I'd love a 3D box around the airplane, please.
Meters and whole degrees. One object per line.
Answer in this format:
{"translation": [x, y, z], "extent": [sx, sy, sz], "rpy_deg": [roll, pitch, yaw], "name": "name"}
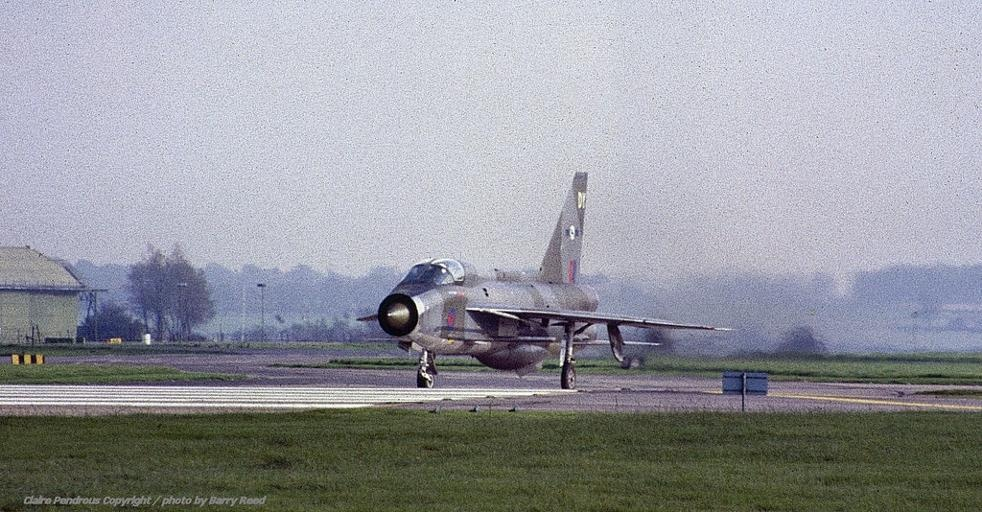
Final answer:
{"translation": [1.340, 3.320, 82.808], "extent": [18.854, 7.926, 16.498], "rpy_deg": [-3, -6, 35], "name": "airplane"}
